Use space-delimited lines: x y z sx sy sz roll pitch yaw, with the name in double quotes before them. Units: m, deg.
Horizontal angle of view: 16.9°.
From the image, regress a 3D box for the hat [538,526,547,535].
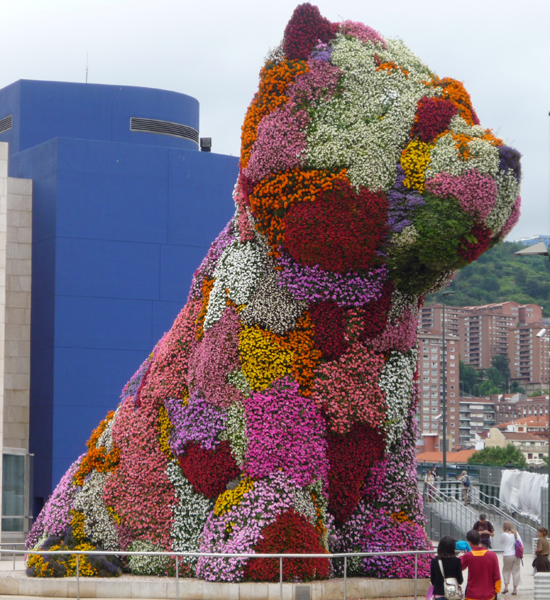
"hat" 3.659 3.166 25.290 0.086 0.092 0.112 -1 11 -30
